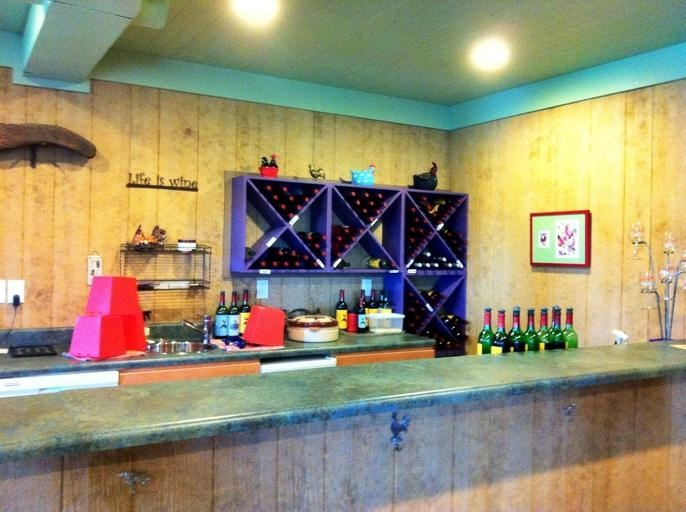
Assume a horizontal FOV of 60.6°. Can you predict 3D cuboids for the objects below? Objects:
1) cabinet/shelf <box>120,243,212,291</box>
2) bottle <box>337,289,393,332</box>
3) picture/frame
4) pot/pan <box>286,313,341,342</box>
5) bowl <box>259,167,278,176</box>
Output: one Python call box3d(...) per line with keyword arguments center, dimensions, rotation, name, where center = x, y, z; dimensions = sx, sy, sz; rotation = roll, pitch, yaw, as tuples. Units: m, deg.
box3d(center=(-1.285, 0.092, 4.299), dimensions=(0.616, 0.316, 0.195), rotation=(1, 8, -24), name="cabinet/shelf")
box3d(center=(0.167, 0.479, 4.815), dimensions=(0.376, 0.365, 0.262), rotation=(-1, 0, -12), name="bottle")
box3d(center=(1.721, -0.128, 4.616), dimensions=(0.061, 0.512, 0.508), rotation=(-1, -1, -41), name="picture/frame")
box3d(center=(-0.245, 0.547, 4.373), dimensions=(0.398, 0.170, 0.245), rotation=(2, 9, 7), name="pot/pan")
box3d(center=(-0.563, -0.637, 4.463), dimensions=(0.128, 0.086, 0.148), rotation=(0, 9, -11), name="bowl")
